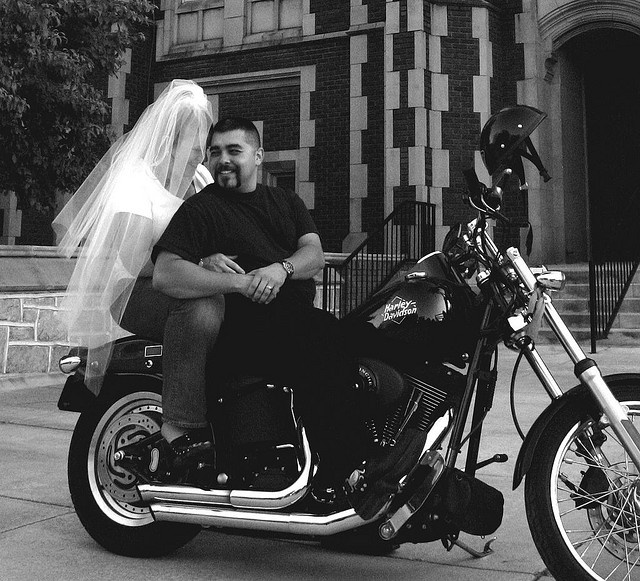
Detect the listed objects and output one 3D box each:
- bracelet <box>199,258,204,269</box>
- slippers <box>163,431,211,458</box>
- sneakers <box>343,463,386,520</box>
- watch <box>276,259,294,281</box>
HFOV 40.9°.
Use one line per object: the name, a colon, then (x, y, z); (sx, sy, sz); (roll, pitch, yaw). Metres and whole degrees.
bracelet: (-0.514, -0.119, 3.670); (0.007, 0.030, 0.028); (8, -7, -19)
slippers: (-0.551, 0.645, 3.601); (0.204, 0.113, 0.077); (-8, -26, 11)
sneakers: (0.157, 0.762, 3.272); (0.066, 0.146, 0.190); (15, 30, -37)
watch: (-0.140, -0.091, 3.602); (0.071, 0.084, 0.050); (-30, -4, 18)
